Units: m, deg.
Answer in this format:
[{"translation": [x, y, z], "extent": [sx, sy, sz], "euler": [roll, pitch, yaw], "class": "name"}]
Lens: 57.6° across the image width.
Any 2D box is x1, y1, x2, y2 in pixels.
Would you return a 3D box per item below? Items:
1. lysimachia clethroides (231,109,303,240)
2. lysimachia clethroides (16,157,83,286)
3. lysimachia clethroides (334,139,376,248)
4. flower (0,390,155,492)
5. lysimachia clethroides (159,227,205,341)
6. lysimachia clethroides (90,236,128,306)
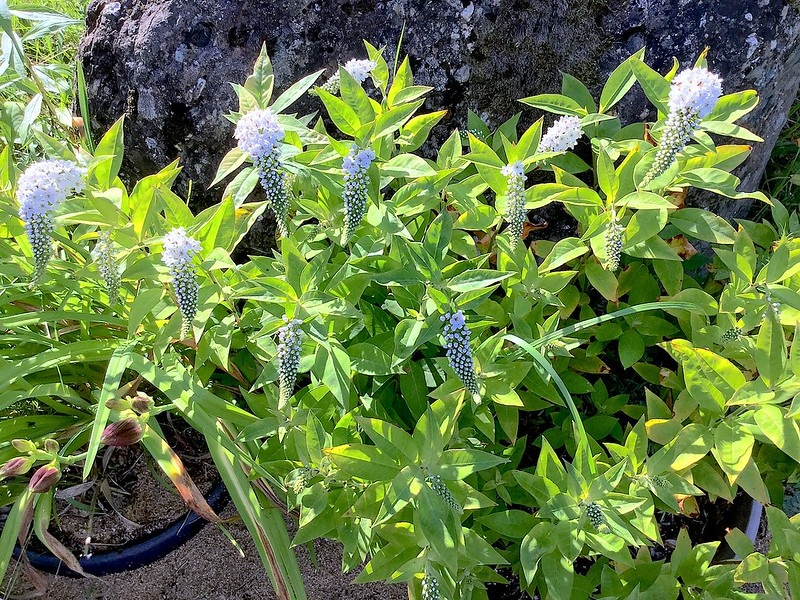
[{"translation": [-0.381, -0.354, 2.039], "extent": [0.159, 0.325, 0.343], "euler": [-3, 44, -21], "class": "lysimachia clethroides"}, {"translation": [-0.965, -0.217, 2.052], "extent": [0.153, 0.311, 0.164], "euler": [-15, 37, -40], "class": "lysimachia clethroides"}, {"translation": [-0.134, -0.277, 1.991], "extent": [0.086, 0.265, 0.133], "euler": [15, 38, 1], "class": "lysimachia clethroides"}, {"translation": [-1.035, 0.436, 2.286], "extent": [0.446, 0.170, 0.167], "euler": [-36, 68, -1], "class": "flower"}, {"translation": [-0.600, -0.056, 1.995], "extent": [0.101, 0.254, 0.242], "euler": [-1, 43, -18], "class": "lysimachia clethroides"}, {"translation": [-0.811, -0.091, 2.050], "extent": [0.078, 0.262, 0.083], "euler": [-2, 0, 31], "class": "lysimachia clethroides"}]
